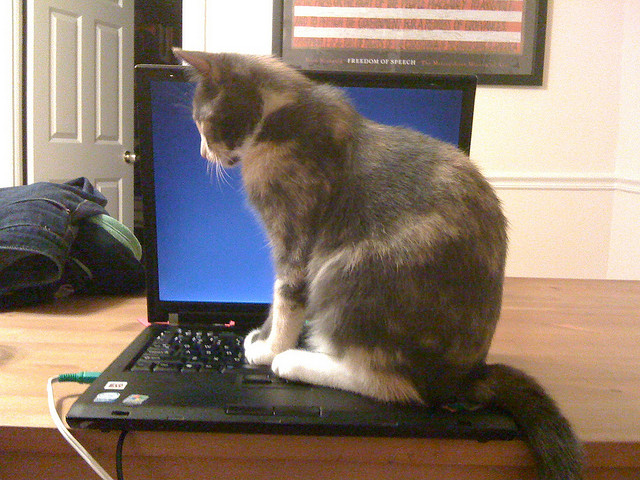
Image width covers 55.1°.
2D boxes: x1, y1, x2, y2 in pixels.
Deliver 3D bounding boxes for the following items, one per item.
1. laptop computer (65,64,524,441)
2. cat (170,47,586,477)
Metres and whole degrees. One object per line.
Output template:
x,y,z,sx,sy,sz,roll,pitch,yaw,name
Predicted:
-0.034,0.000,0.754,0.570,0.346,0.380,-4,18,-3,laptop computer
0.059,-0.033,0.859,0.684,0.390,0.299,22,23,12,cat
